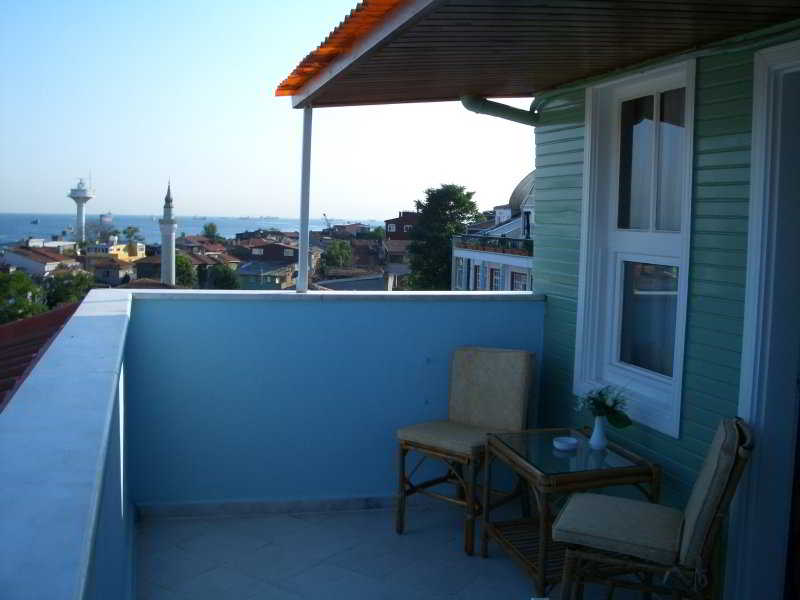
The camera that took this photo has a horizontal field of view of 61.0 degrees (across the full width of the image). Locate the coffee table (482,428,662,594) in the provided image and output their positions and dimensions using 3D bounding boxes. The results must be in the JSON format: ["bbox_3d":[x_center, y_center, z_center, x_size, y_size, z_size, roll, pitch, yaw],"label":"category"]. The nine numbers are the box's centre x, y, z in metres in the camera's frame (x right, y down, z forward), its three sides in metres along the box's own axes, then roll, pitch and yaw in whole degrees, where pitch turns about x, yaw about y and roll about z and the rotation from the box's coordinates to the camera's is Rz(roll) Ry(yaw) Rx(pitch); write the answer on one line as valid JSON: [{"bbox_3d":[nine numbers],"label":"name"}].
[{"bbox_3d":[0.830,0.957,3.619,0.759,0.781,0.778,-3,13,-16],"label":"coffee table"}]

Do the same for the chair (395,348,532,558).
[{"bbox_3d":[0.389,0.833,4.018,0.683,1.067,0.630,0,1,-39],"label":"chair"}]

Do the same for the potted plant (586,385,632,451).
[{"bbox_3d":[1.118,0.626,3.642,0.279,0.362,0.274,2,5,21],"label":"potted plant"}]

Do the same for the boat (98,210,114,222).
[{"bbox_3d":[-27.937,-7.880,64.283,0.817,0.650,0.838,2,0,-18],"label":"boat"}]
